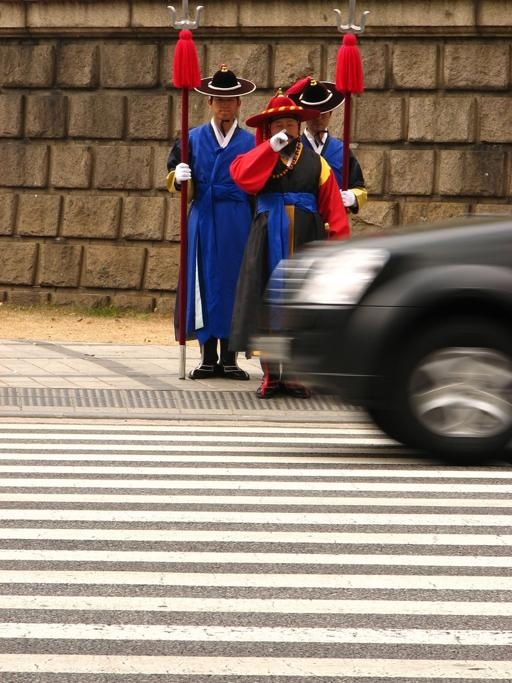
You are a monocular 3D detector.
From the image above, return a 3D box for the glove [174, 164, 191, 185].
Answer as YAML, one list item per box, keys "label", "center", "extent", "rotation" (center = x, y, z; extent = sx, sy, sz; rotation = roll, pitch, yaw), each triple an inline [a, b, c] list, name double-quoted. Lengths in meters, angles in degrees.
- label: "glove"
  center: [-0.498, -1.140, 8.027]
  extent: [0.116, 0.148, 0.227]
  rotation: [1, 3, -5]

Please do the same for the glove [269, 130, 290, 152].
- label: "glove"
  center: [0.145, -1.232, 7.288]
  extent: [0.088, 0.135, 0.111]
  rotation: [35, -14, 23]

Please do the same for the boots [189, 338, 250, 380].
- label: "boots"
  center: [-0.267, 0.169, 8.517]
  extent: [0.382, 0.314, 0.330]
  rotation: [2, -8, -19]

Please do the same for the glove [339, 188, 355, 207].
- label: "glove"
  center: [0.632, -0.963, 8.003]
  extent: [0.053, 0.131, 0.102]
  rotation: [-25, -2, 5]

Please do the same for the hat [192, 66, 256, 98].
- label: "hat"
  center: [-0.227, -1.792, 8.129]
  extent: [0.400, 0.257, 0.476]
  rotation: [1, 3, 4]
